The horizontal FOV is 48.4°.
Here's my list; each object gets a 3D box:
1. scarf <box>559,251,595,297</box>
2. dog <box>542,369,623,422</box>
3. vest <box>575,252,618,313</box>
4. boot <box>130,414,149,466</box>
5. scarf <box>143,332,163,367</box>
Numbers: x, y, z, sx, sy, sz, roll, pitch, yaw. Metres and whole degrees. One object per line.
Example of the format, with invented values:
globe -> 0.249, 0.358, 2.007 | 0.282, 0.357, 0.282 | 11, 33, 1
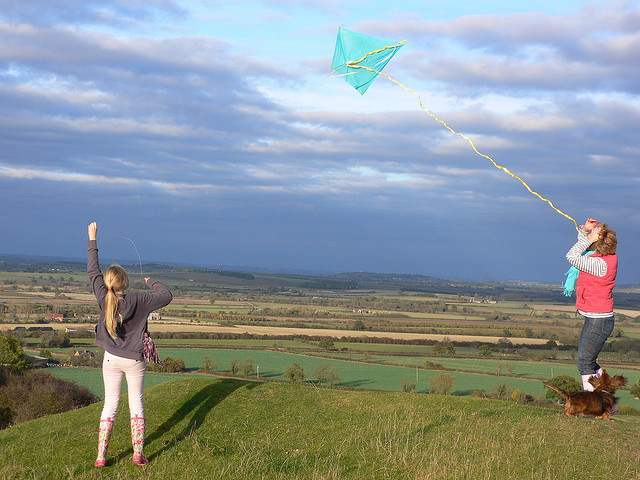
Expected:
scarf -> 7.131, 0.926, 19.546 | 0.896, 1.787, 1.048 | -1, 1, 23
dog -> 7.315, 4.526, 20.528 | 2.613, 1.500, 1.175 | -1, -4, -13
vest -> 7.692, 1.184, 19.924 | 1.011, 1.680, 0.561 | 0, -1, 17
boot -> -4.747, 5.277, 18.830 | 0.403, 1.454, 0.620 | 0, -1, -11
scarf -> -4.532, 2.953, 19.309 | 0.444, 1.036, 1.386 | 0, -1, -13
